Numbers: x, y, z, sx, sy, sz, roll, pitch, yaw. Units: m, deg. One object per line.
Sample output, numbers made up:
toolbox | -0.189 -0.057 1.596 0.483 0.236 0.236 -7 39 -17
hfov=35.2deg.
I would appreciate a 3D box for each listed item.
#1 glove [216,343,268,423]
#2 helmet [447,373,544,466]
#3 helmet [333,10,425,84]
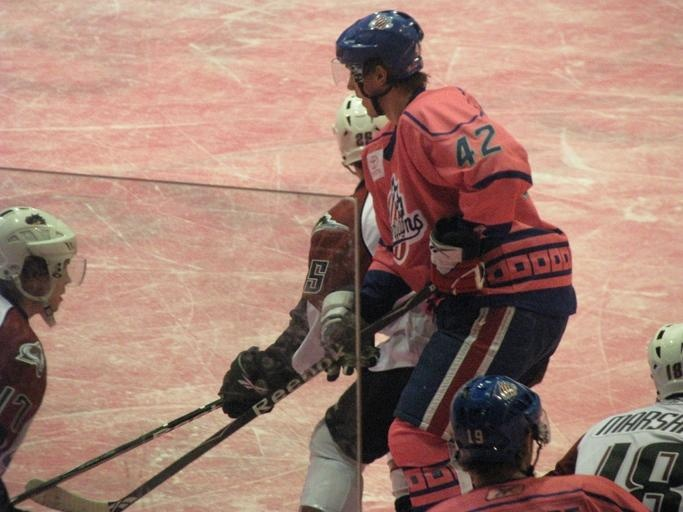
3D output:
glove | -0.317 0.404 3.461 0.147 0.232 0.049 3 14 -6
helmet | 0.457 0.527 3.310 0.271 0.223 0.318 0 0 33
helmet | 0.130 -0.812 4.113 0.373 0.176 0.245 -9 29 -27
